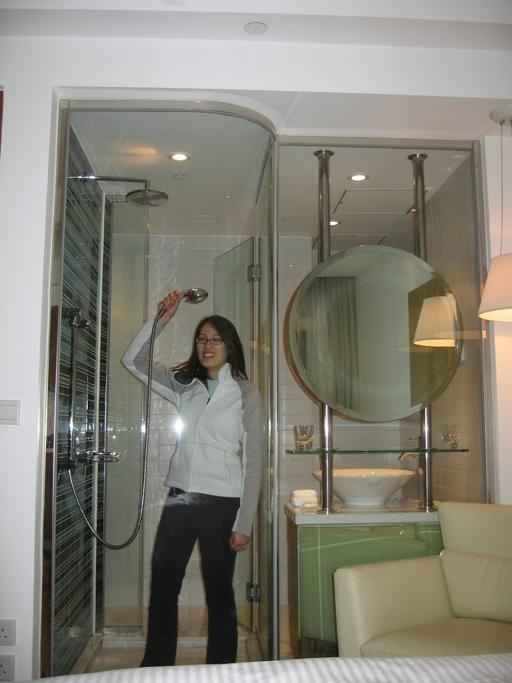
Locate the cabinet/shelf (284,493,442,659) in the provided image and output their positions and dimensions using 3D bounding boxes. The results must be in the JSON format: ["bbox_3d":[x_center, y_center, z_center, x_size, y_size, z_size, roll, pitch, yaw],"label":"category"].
[{"bbox_3d":[0.388,0.944,2.541,0.669,0.688,0.513,1,-12,-4],"label":"cabinet/shelf"}]

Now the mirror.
[{"bbox_3d":[0.475,-0.013,2.498,0.739,0.758,0.102,1,-3,-5],"label":"mirror"}]
